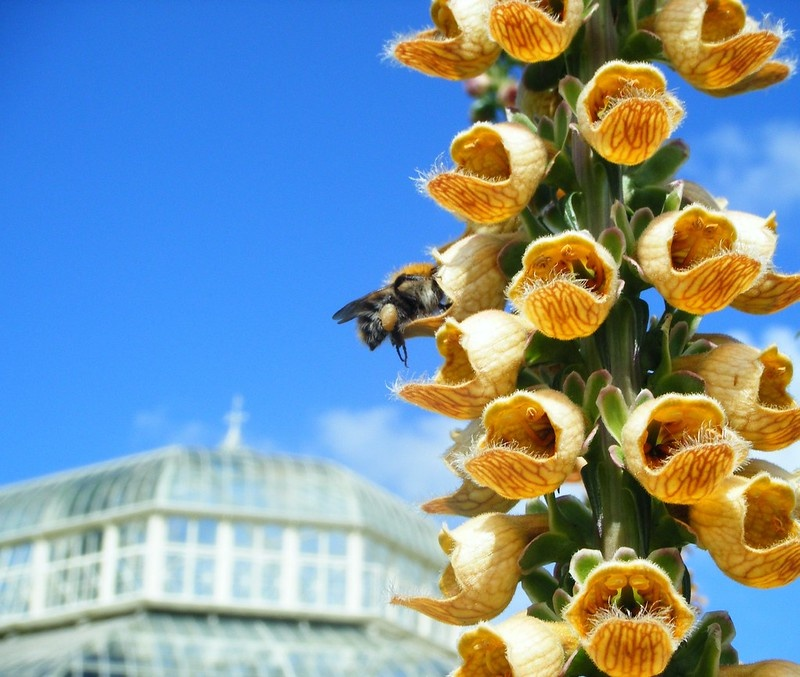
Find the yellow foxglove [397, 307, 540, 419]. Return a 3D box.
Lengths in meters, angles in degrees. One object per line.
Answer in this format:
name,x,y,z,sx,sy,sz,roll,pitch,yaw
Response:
yellow foxglove,0.203,0.080,3.005,0.413,0.216,0.244,-30,-14,-41

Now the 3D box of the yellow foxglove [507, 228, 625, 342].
yellow foxglove,0.460,-0.148,2.933,0.254,0.331,0.206,-6,-53,-2

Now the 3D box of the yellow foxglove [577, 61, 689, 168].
yellow foxglove,0.659,-0.636,3.065,0.304,0.412,0.287,-9,-78,15

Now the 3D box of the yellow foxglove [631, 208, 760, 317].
yellow foxglove,0.820,-0.209,2.991,0.316,0.402,0.277,-8,-67,-44
